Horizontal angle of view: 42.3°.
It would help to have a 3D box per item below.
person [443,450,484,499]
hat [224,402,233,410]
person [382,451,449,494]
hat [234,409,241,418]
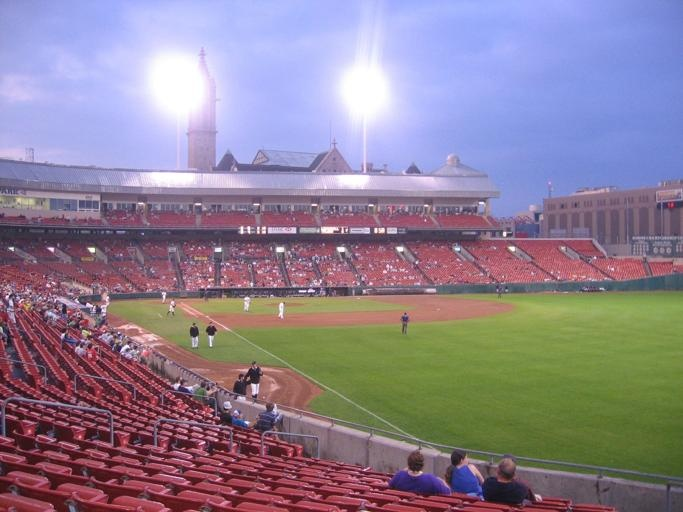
[{"bbox_3d":[3.931,7.134,28.514,0.840,1.197,2.044,-4,-39,20],"label":"person"},{"bbox_3d":[-4.385,5.774,33.946,0.423,0.136,0.409,1,-1,-24],"label":"hat"},{"bbox_3d":[2.592,6.823,28.379,1.164,0.991,1.739,3,4,13],"label":"person"},{"bbox_3d":[-4.134,6.171,34.748,0.408,0.175,0.556,2,4,-7],"label":"hat"}]
